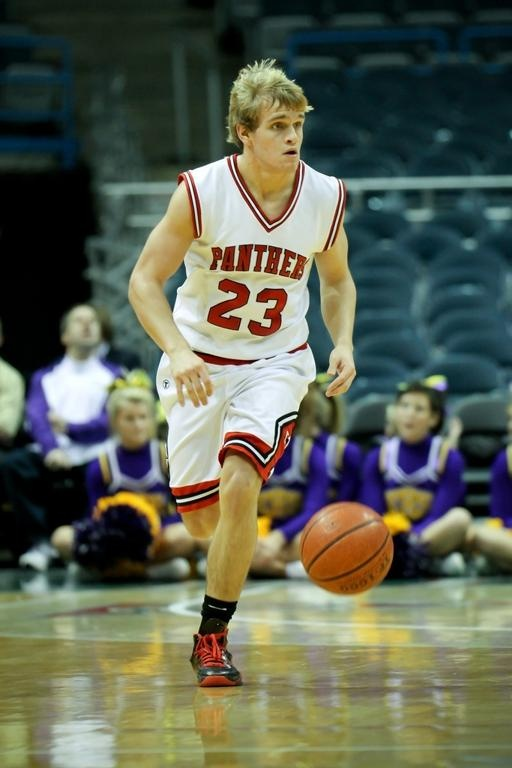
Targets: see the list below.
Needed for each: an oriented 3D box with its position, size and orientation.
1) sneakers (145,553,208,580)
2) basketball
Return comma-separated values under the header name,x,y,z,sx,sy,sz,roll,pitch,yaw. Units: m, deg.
name,x,y,z,sx,sy,sz,roll,pitch,yaw
sneakers,-0.455,1.066,5.029,0.257,0.078,0.194,-10,-8,34
basketball,0.217,0.434,2.395,0.285,0.227,0.250,2,-2,-11
